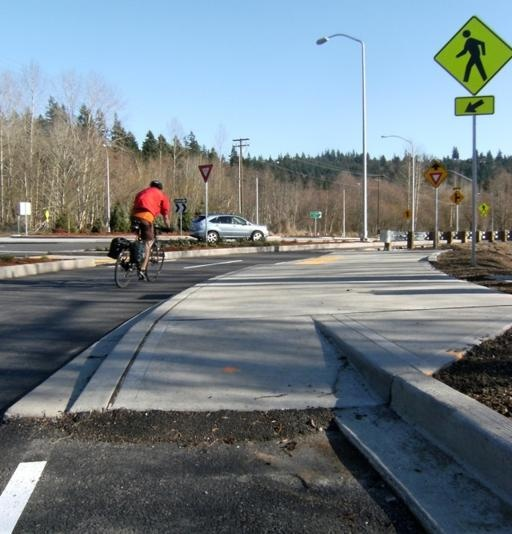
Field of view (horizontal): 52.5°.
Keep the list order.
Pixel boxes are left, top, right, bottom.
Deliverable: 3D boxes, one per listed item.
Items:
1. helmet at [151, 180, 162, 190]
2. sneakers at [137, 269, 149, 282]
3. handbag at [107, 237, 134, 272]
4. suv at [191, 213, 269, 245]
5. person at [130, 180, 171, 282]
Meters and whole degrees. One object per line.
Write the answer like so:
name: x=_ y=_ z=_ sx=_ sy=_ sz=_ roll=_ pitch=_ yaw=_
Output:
helmet: x=-2.129 y=-1.750 z=10.962 sx=0.171 sy=0.233 sz=0.224 roll=29 pitch=30 yaw=28
sneakers: x=-2.480 y=0.168 z=11.265 sx=0.144 sy=0.238 sz=0.518 roll=0 pitch=19 yaw=-2
handbag: x=-2.708 y=-0.292 z=10.451 sx=0.361 sy=0.764 sz=0.707 roll=1 pitch=-20 yaw=1
suv: x=-1.679 y=-2.474 z=32.453 sx=4.783 sy=1.704 sz=3.144 roll=-6 pitch=6 yaw=-36
person: x=-2.254 y=-0.790 z=10.834 sx=0.818 sy=1.999 sz=0.571 roll=-4 pitch=4 yaw=-39
